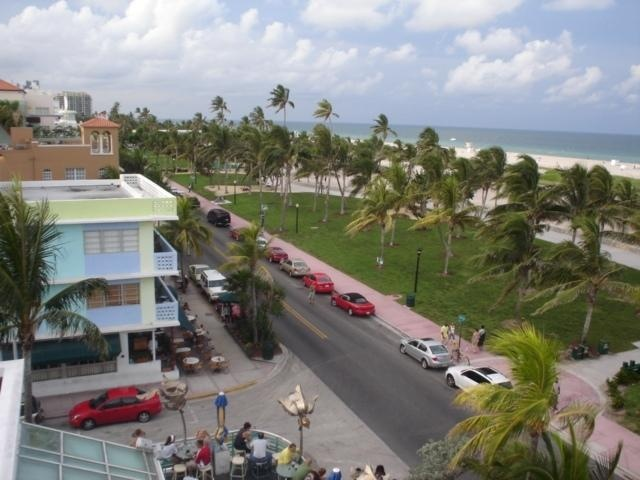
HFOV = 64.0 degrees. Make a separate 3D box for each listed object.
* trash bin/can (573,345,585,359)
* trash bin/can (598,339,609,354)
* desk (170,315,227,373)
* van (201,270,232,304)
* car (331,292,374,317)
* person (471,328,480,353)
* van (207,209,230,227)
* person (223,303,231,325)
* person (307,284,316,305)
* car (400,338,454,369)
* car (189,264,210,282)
[{"bbox_3d":[15.282,6.672,30.269,0.858,0.730,0.373,-7,9,-30],"label":"trash bin/can"},{"bbox_3d":[17.104,6.475,30.922,0.679,0.804,0.401,-3,8,2],"label":"trash bin/can"},{"bbox_3d":[-7.415,5.773,30.455,2.811,2.828,6.059,-5,8,-17],"label":"desk"},{"bbox_3d":[-7.927,3.347,39.112,2.025,1.579,3.251,-6,17,-23],"label":"van"},{"bbox_3d":[2.264,4.506,36.649,1.353,0.865,2.625,-2,17,-26],"label":"car"},{"bbox_3d":[9.453,6.176,31.438,0.558,1.178,1.114,-1,8,16],"label":"person"},{"bbox_3d":[-12.372,-2.666,62.094,1.666,1.320,3.012,-7,26,-28],"label":"van"},{"bbox_3d":[-6.356,4.967,34.737,0.593,0.828,1.411,-1,19,-9],"label":"person"},{"bbox_3d":[-0.681,4.067,38.422,0.458,1.296,1.427,-3,8,-3],"label":"person"},{"bbox_3d":[6.060,6.520,29.774,1.248,0.855,2.612,-2,13,-25],"label":"car"},{"bbox_3d":[-10.147,2.739,43.080,1.115,0.941,1.924,-5,14,-28],"label":"car"}]
